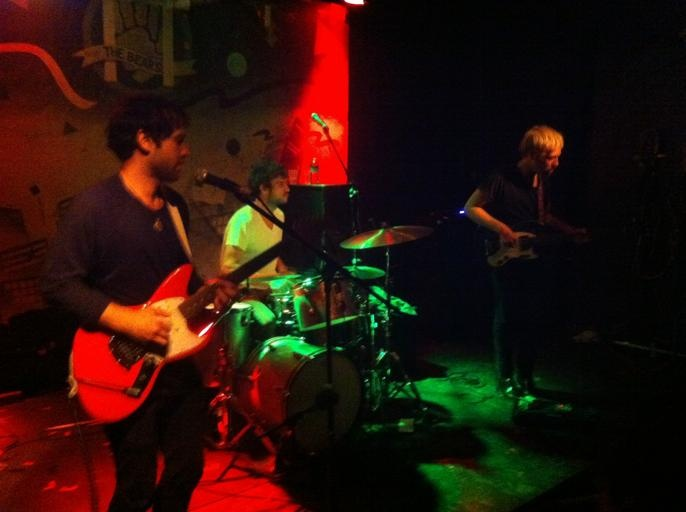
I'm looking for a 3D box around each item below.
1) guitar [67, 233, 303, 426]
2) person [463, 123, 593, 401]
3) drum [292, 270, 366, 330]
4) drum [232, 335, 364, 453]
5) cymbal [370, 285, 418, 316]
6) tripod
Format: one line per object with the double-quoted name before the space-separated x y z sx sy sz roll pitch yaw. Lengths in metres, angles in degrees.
"guitar" -0.901 0.264 3.800 0.172 0.644 1.780 -1 27 37
"person" 1.550 0.090 5.319 0.883 2.419 0.324 5 12 9
"drum" -0.190 0.349 5.020 0.571 0.379 0.552 -3 2 0
"drum" -0.314 1.050 4.717 0.819 0.784 0.555 -33 32 -31
"cymbal" 0.399 0.393 5.436 0.149 0.198 0.646 0 -15 32
"tripod" 0.378 0.953 5.446 0.613 0.641 0.597 4 0 8
